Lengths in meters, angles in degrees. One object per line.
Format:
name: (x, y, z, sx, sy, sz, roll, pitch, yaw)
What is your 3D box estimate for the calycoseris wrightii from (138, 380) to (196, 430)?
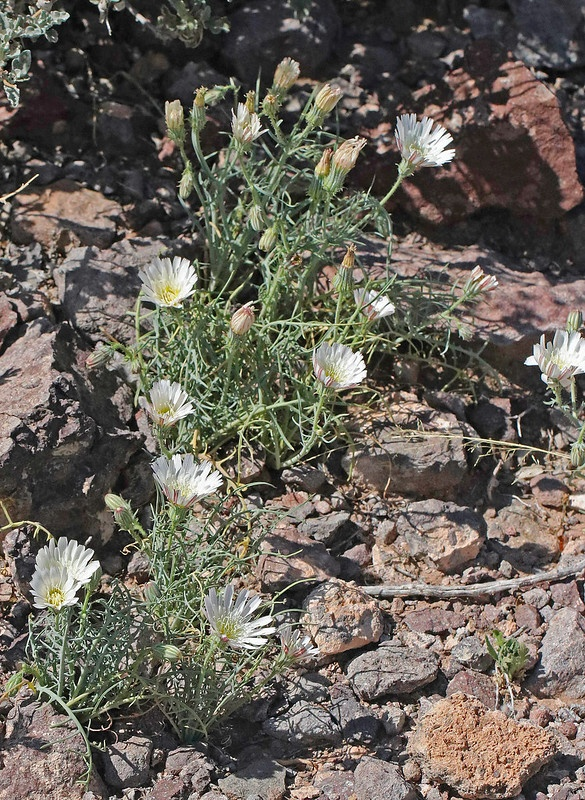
calycoseris wrightii: (-0.303, 0.004, 2.015, 0.092, 0.127, 0.122, 7, 33, 18)

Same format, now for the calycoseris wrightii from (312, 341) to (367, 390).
calycoseris wrightii: (0.129, -0.076, 2.225, 0.128, 0.165, 0.174, -2, 31, 4)

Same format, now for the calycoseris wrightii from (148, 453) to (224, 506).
calycoseris wrightii: (-0.250, 0.204, 1.882, 0.142, 0.066, 0.131, -26, 69, -32)

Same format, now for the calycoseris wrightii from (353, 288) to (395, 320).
calycoseris wrightii: (0.248, -0.312, 2.530, 0.122, 0.056, 0.119, -27, 45, -19)

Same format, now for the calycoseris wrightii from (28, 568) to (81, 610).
calycoseris wrightii: (-0.511, 0.420, 1.768, 0.095, 0.107, 0.083, -11, 33, -10)
